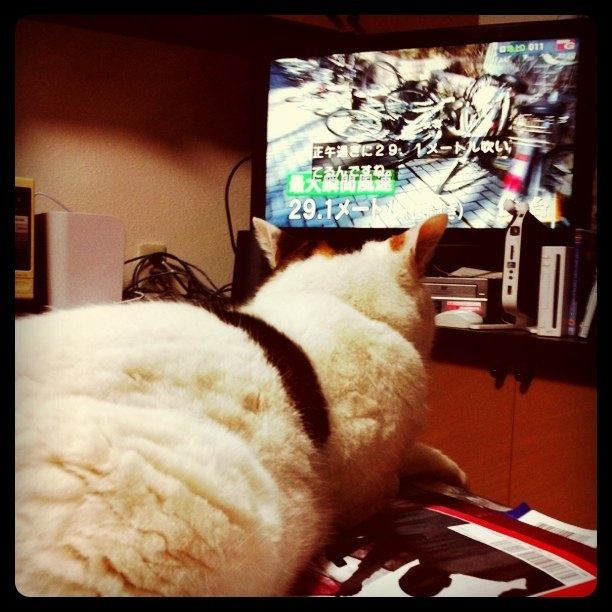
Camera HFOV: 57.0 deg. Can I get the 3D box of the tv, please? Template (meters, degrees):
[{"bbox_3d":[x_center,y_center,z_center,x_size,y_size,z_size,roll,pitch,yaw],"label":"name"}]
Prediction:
[{"bbox_3d":[0.305,-0.434,1.387,0.626,0.344,0.065,0,3,9],"label":"tv"}]

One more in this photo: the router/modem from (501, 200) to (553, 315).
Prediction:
[{"bbox_3d":[0.518,-0.101,1.341,0.112,0.289,0.092,6,11,14],"label":"router/modem"}]

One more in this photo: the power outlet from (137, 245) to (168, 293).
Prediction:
[{"bbox_3d":[-0.441,-0.104,1.611,0.145,0.133,0.034,-1,5,-25],"label":"power outlet"}]

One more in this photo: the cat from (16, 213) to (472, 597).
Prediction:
[{"bbox_3d":[-0.079,0.163,1.067,0.785,0.379,0.448,-21,34,-31],"label":"cat"}]
